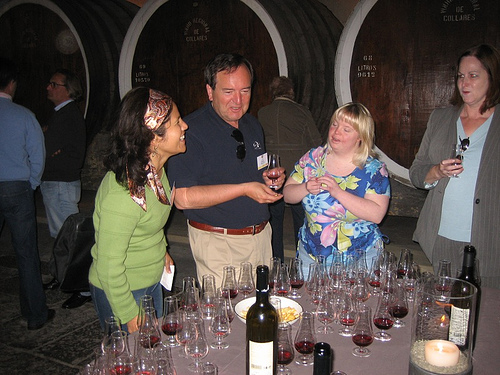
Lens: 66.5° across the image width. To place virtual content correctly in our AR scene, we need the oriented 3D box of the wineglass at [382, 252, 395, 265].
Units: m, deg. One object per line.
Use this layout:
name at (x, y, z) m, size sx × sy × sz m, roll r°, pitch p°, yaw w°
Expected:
wineglass at (0.837, 0.423, 2.290) m, size 0.053 × 0.057 × 0.056 m, roll 1°, pitch -9°, yaw 2°

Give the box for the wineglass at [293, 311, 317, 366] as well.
wineglass at (0.244, 0.647, 1.694) m, size 0.092 × 0.222 × 0.197 m, roll 2°, pitch 4°, yaw 10°

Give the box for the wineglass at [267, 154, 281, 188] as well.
wineglass at (0.161, -0.110, 2.593) m, size 0.092 × 0.229 × 0.113 m, roll 1°, pitch 4°, yaw 3°

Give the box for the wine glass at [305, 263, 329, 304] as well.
wine glass at (0.371, 0.533, 2.140) m, size 0.134 × 0.230 × 0.137 m, roll -2°, pitch 12°, yaw -9°

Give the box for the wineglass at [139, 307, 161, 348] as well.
wineglass at (-0.466, 0.641, 1.742) m, size 0.105 × 0.175 × 0.108 m, roll 6°, pitch 9°, yaw 22°

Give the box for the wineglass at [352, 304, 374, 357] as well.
wineglass at (0.514, 0.651, 1.752) m, size 0.111 × 0.221 × 0.118 m, roll 2°, pitch 2°, yaw 13°

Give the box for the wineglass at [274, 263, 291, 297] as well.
wineglass at (0.201, 0.540, 2.162) m, size 0.133 × 0.165 × 0.143 m, roll 2°, pitch -21°, yaw -6°

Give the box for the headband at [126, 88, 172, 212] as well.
headband at (-0.464, -0.435, 2.132) m, size 0.344 × 0.154 × 0.539 m, roll -34°, pitch 24°, yaw -14°

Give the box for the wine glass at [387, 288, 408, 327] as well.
wine glass at (0.763, 0.582, 1.960) m, size 0.090 × 0.267 × 0.090 m, roll 1°, pitch 12°, yaw 15°

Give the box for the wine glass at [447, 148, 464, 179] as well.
wine glass at (1.408, -0.162, 2.602) m, size 0.089 × 0.206 × 0.277 m, roll 3°, pitch 4°, yaw 29°

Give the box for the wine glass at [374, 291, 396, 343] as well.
wine glass at (0.649, 0.617, 1.858) m, size 0.088 × 0.240 × 0.089 m, roll -2°, pitch 8°, yaw -3°

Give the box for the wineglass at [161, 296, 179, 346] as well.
wineglass at (-0.404, 0.662, 1.869) m, size 0.088 × 0.202 × 0.087 m, roll -2°, pitch -12°, yaw -34°

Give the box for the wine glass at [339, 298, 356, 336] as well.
wine glass at (0.482, 0.597, 1.862) m, size 0.089 × 0.250 × 0.089 m, roll 3°, pitch 15°, yaw 14°

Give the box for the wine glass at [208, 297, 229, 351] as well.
wine glass at (-0.155, 0.648, 1.825) m, size 0.119 × 0.243 × 0.116 m, roll 1°, pitch -4°, yaw -20°

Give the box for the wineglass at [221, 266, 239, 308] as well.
wineglass at (-0.111, 0.532, 2.168) m, size 0.093 × 0.194 × 0.350 m, roll 1°, pitch 3°, yaw -4°

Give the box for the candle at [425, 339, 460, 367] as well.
candle at (0.733, 0.627, 1.440) m, size 0.133 × 0.081 × 0.053 m, roll 2°, pitch 4°, yaw 6°

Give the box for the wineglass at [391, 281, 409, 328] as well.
wineglass at (0.772, 0.588, 1.971) m, size 0.085 × 0.254 × 0.088 m, roll 7°, pitch 13°, yaw 29°

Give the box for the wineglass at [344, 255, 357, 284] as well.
wineglass at (0.583, 0.472, 2.217) m, size 0.064 × 0.153 × 0.090 m, roll 2°, pitch 4°, yaw 16°

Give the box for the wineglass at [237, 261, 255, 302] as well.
wineglass at (-0.026, 0.546, 2.186) m, size 0.092 × 0.291 × 0.093 m, roll 5°, pitch 20°, yaw 17°
